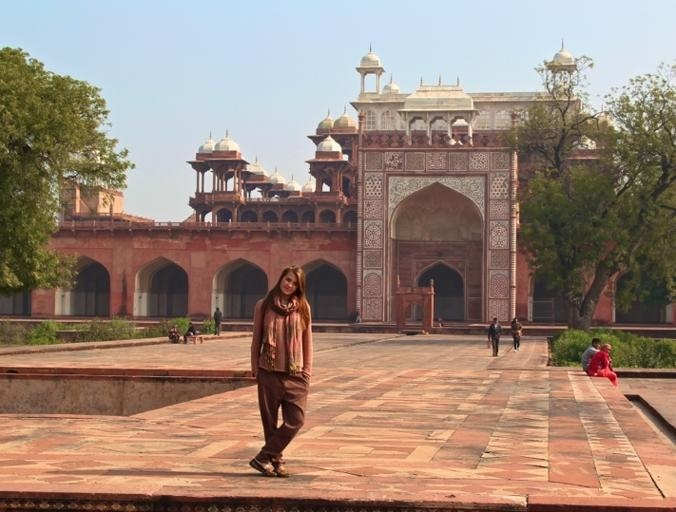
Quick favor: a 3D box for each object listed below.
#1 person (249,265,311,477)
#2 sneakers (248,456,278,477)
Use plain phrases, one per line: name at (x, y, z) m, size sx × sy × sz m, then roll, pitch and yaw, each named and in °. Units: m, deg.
person at (-0.610, 1.223, 12.397) m, size 0.649 × 2.216 × 0.341 m, roll 1°, pitch -4°, yaw -6°
sneakers at (-0.789, 2.228, 12.184) m, size 0.365 × 0.153 × 0.124 m, roll 16°, pitch -13°, yaw 24°
